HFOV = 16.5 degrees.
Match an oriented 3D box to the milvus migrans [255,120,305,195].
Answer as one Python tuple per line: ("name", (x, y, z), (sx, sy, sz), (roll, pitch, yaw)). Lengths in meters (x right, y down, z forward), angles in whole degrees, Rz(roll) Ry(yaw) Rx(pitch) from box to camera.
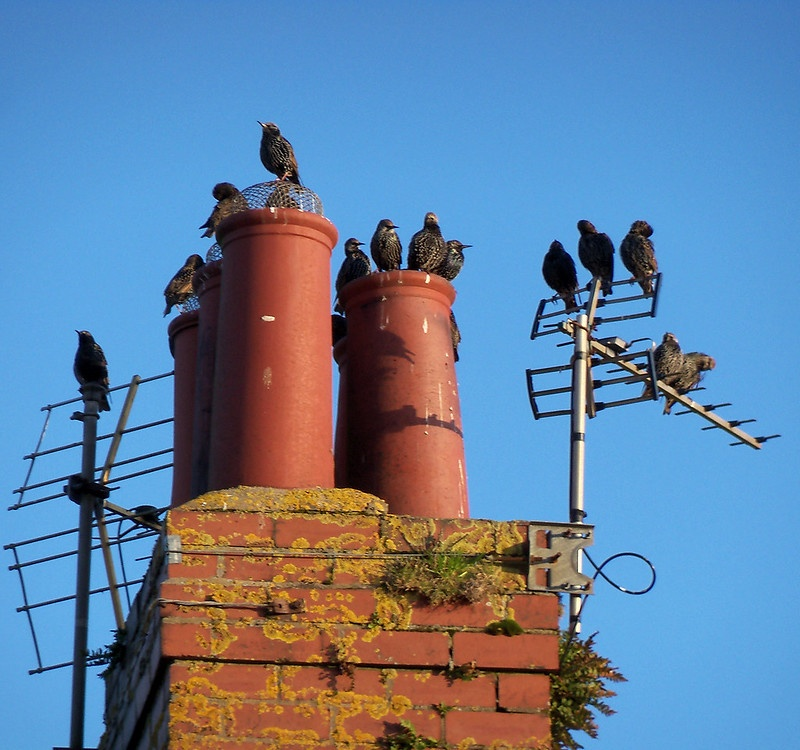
("milvus migrans", (-0.827, -1.580, 19.409), (0.205, 0.450, 0.409), (0, -2, 43))
